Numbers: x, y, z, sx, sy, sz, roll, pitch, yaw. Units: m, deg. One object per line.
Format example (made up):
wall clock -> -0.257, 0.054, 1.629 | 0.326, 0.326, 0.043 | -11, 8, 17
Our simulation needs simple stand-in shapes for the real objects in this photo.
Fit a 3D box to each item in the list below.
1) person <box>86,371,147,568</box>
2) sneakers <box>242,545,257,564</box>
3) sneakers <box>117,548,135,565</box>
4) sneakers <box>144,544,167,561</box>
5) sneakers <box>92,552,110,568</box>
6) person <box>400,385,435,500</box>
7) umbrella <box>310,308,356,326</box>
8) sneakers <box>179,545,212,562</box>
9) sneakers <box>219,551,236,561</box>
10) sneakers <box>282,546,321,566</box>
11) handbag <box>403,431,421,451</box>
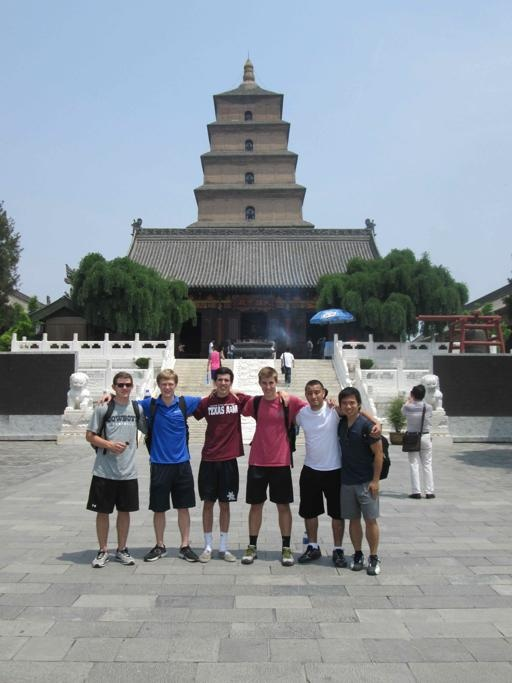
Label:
person -> -0.949, 0.842, 4.868 | 0.399, 1.265, 0.289 | 1, -3, -21
sneakers -> -0.047, 1.446, 4.893 | 0.098, 0.097, 0.211 | 0, -2, 1
sneakers -> -0.867, 1.444, 4.818 | 0.061, 0.073, 0.158 | 7, -6, -36
sneakers -> -0.679, 1.458, 4.905 | 0.058, 0.073, 0.169 | -5, -13, 21
sneakers -> -1.030, 1.432, 4.754 | 0.094, 0.082, 0.227 | 0, -2, -8
person -> 1.785, 1.065, 7.884 | 0.315, 1.177, 1.030 | -1, -3, 14
umbrella -> 2.433, -0.825, 22.641 | 1.261, 0.475, 1.587 | -1, -2, 9
sneakers -> -0.399, 1.446, 4.903 | 0.253, 0.103, 0.086 | -2, -5, 29
sneakers -> -0.182, 1.473, 4.924 | 0.047, 0.048, 0.129 | 3, -14, -21
sneakers -> 0.320, 1.455, 4.863 | 0.102, 0.120, 0.304 | -13, -20, 40
handbag -> 1.629, 1.040, 7.488 | 0.190, 0.249, 0.106 | -2, -7, 17
